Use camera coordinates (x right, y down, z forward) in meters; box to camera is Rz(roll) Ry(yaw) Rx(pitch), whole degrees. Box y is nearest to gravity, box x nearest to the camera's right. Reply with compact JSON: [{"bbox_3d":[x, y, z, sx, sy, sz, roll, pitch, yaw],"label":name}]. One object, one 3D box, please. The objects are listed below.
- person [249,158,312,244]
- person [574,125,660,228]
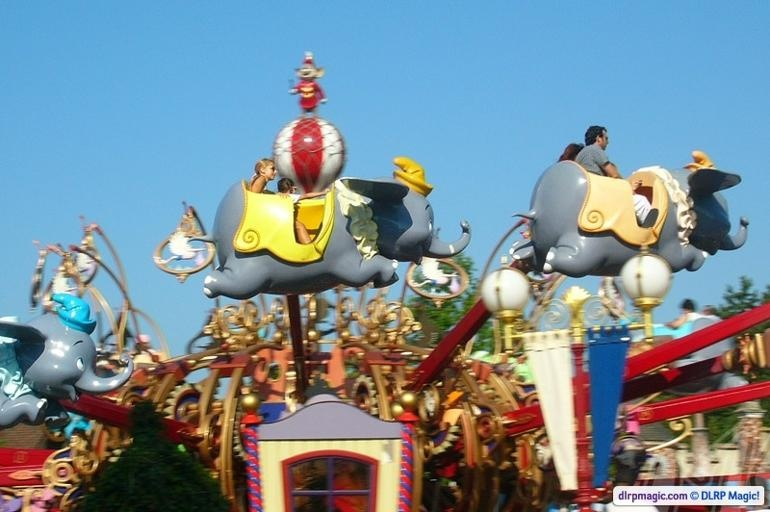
[{"bbox_3d":[-1.361,-0.671,18.903,0.465,1.157,0.627,-11,-9,14],"label":"person"},{"bbox_3d":[3.149,-1.086,19.650,0.936,1.476,0.624,-11,-7,-6],"label":"person"}]
